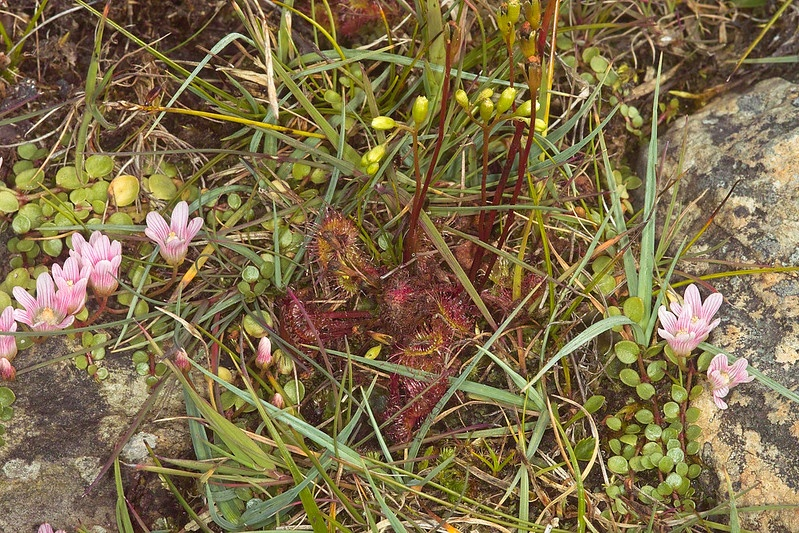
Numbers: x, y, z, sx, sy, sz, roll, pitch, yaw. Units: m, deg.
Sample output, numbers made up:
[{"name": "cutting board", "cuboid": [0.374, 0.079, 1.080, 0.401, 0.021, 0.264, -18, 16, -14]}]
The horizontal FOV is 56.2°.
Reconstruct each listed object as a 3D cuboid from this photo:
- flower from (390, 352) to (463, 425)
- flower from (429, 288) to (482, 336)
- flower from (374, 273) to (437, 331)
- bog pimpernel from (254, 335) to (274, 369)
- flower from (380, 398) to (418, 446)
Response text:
[{"name": "flower", "cuboid": [0.122, 0.714, 4.337, 0.372, 0.272, 0.419, 1, 83, 0]}, {"name": "flower", "cuboid": [0.318, 0.251, 4.394, 0.109, 0.276, 0.257, -55, 41, 2]}, {"name": "flower", "cuboid": [0.037, 0.213, 4.353, 0.310, 0.132, 0.328, -5, 83, -1]}, {"name": "bog pimpernel", "cuboid": [-0.800, 0.497, 4.425, 0.098, 0.094, 0.182, 4, 100, 19]}, {"name": "flower", "cuboid": [-0.043, 0.907, 4.356, 0.250, 0.115, 0.256, -6, 93, -6]}]
